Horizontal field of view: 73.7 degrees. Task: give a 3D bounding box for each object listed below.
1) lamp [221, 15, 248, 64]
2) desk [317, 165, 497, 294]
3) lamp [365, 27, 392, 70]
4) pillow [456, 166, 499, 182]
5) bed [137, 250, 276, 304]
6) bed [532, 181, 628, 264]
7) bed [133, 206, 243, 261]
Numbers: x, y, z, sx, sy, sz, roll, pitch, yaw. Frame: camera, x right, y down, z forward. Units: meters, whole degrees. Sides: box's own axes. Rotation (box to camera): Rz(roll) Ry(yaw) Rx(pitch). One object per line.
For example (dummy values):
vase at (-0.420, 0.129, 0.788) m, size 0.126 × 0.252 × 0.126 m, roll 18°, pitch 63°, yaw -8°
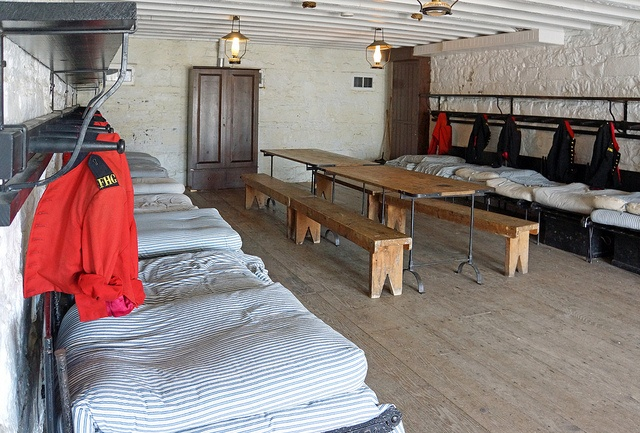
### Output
lamp at (-1.297, -2.754, 6.584) m, size 0.451 × 0.707 × 0.447 m, roll -7°, pitch 16°, yaw -34°
desk at (0.955, 0.016, 5.572) m, size 1.098 × 1.061 × 2.374 m, roll -6°, pitch 15°, yaw -23°
lamp at (0.915, -2.697, 6.848) m, size 0.432 × 0.546 × 0.376 m, roll -1°, pitch 14°, yaw -7°
pillow at (2.625, -0.705, 7.182) m, size 0.500 × 0.159 × 0.621 m, roll 4°, pitch 7°, yaw 38°
bed at (-0.849, 0.373, 3.090) m, size 0.998 × 0.158 × 0.911 m, roll 9°, pitch 10°, yaw -21°
bed at (3.677, 0.109, 5.844) m, size 1.024 × 0.589 × 1.425 m, roll 11°, pitch 9°, yaw 0°
bed at (-1.136, 0.134, 3.617) m, size 0.976 × 0.156 × 0.841 m, roll -12°, pitch 22°, yaw -23°
